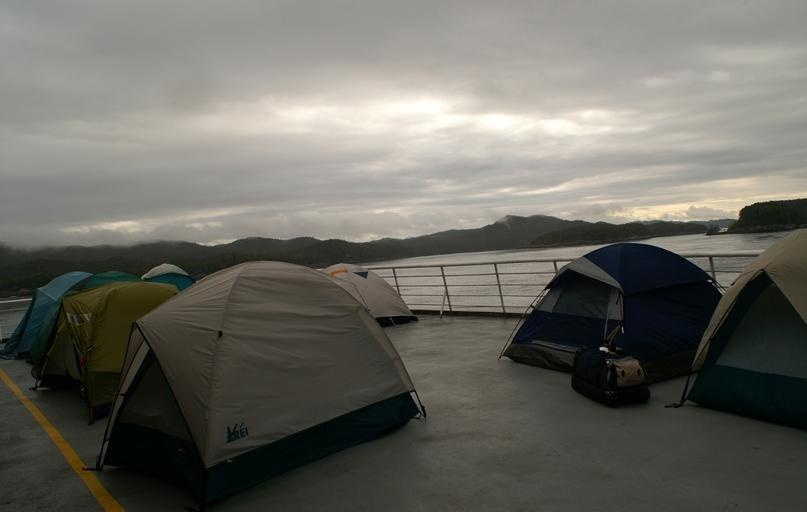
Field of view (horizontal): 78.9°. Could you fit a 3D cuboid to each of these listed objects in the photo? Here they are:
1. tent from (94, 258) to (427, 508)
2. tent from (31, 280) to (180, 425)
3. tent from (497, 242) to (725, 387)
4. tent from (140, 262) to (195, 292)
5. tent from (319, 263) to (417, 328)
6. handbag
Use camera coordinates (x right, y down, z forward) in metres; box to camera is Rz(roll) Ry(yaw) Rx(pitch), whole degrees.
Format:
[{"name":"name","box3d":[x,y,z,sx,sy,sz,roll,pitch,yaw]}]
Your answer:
[{"name":"tent","box3d":[-2.559,1.651,7.557,3.576,2.118,3.661,-7,-1,41]},{"name":"tent","box3d":[-5.862,1.475,9.790,2.934,1.775,2.895,5,6,33]},{"name":"tent","box3d":[3.752,0.921,9.018,2.901,1.633,2.560,-10,1,-8]},{"name":"tent","box3d":[-7.196,0.595,14.929,1.138,0.489,1.298,3,8,43]},{"name":"tent","box3d":[-0.886,1.138,13.879,2.206,0.875,2.041,-6,6,-7]},{"name":"handbag","box3d":[3.276,1.922,7.994,0.845,0.663,1.074,0,-1,-24]}]
